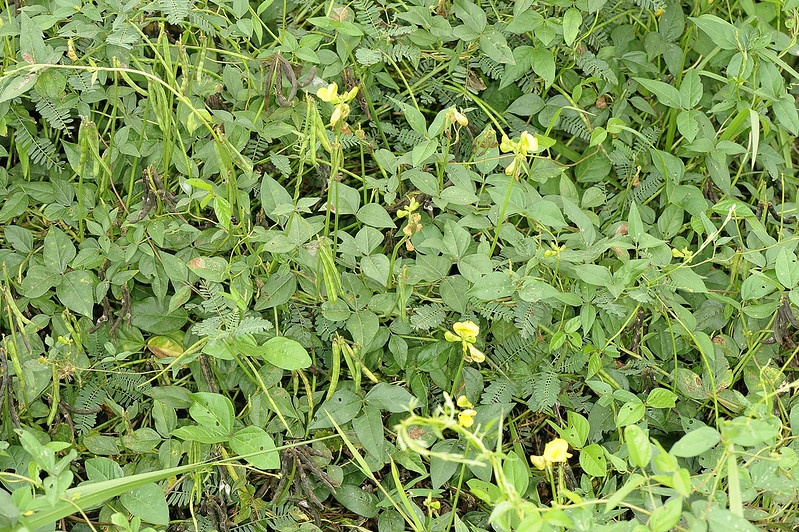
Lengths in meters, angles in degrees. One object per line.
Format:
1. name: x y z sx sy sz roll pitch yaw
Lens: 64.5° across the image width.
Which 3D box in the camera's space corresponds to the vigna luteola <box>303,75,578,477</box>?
1. vigna luteola: 0.155 0.104 2.651 1.193 0.340 1.804 0 90 -1
